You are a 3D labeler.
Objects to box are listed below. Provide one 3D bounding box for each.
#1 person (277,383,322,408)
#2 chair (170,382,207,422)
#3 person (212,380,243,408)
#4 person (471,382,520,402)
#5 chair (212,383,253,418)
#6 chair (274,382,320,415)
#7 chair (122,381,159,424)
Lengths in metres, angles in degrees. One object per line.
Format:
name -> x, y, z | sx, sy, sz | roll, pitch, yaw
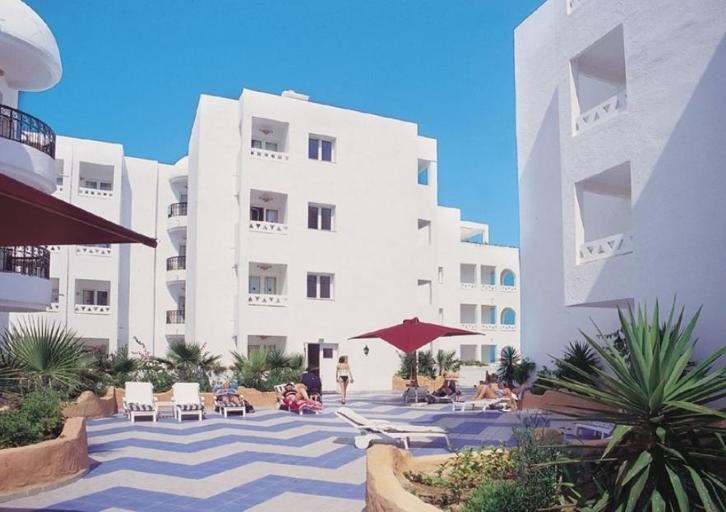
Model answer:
person -> -2.369, 5.073, 24.087 | 0.840, 0.666, 1.444 | 5, -12, -32
chair -> -5.713, 4.879, 22.106 | 0.868, 1.032, 1.319 | 3, -7, -16
person -> -4.747, 4.858, 23.357 | 0.795, 0.769, 1.248 | 2, -18, -15
person -> 4.658, 4.810, 23.435 | 1.141, 0.474, 0.746 | 1, -5, 9
chair -> -4.550, 4.934, 22.989 | 0.929, 1.019, 1.677 | 4, -5, -23
chair -> -2.393, 5.150, 24.122 | 0.821, 0.702, 1.608 | 6, -14, -29
chair -> -7.260, 4.730, 21.753 | 0.920, 1.040, 1.438 | 2, -10, -21
